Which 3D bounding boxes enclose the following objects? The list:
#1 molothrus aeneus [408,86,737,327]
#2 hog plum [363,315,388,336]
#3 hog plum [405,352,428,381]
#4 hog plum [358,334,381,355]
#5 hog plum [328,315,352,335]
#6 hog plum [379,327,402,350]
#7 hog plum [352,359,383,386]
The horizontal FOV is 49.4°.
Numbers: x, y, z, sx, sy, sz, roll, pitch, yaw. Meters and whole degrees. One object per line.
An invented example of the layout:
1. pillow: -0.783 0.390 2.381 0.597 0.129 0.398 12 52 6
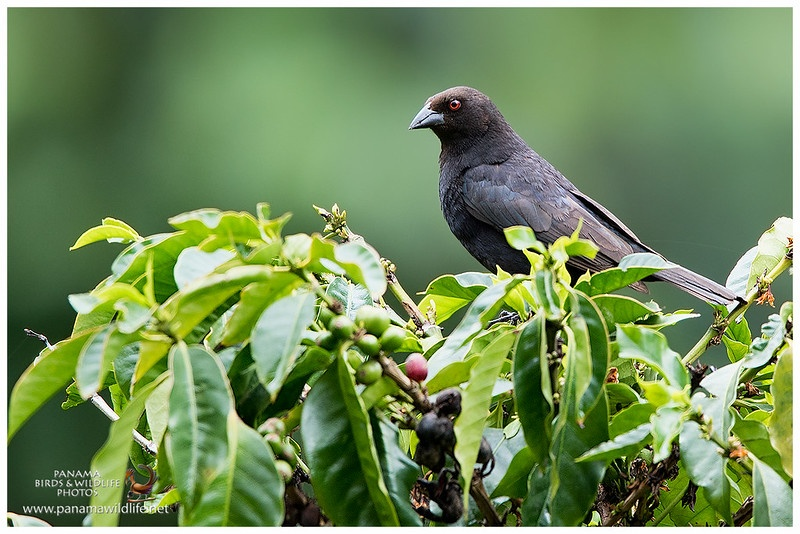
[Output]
1. molothrus aeneus: 1.018 -0.332 5.392 2.073 1.432 0.727 8 5 13
2. hog plum: -0.055 0.138 2.032 0.046 0.035 0.047 -31 -43 30
3. hog plum: 0.052 0.243 2.115 0.057 0.073 0.059 0 3 9
4. hog plum: -0.070 0.183 2.026 0.040 0.038 0.058 -30 -43 28
5. hog plum: -0.134 0.136 2.024 0.059 0.054 0.032 -2 -36 -6
6. hog plum: -0.015 0.176 2.044 0.042 0.045 0.056 19 -35 -37
7. hog plum: -0.073 0.247 2.040 0.068 0.053 0.040 -18 -38 15
